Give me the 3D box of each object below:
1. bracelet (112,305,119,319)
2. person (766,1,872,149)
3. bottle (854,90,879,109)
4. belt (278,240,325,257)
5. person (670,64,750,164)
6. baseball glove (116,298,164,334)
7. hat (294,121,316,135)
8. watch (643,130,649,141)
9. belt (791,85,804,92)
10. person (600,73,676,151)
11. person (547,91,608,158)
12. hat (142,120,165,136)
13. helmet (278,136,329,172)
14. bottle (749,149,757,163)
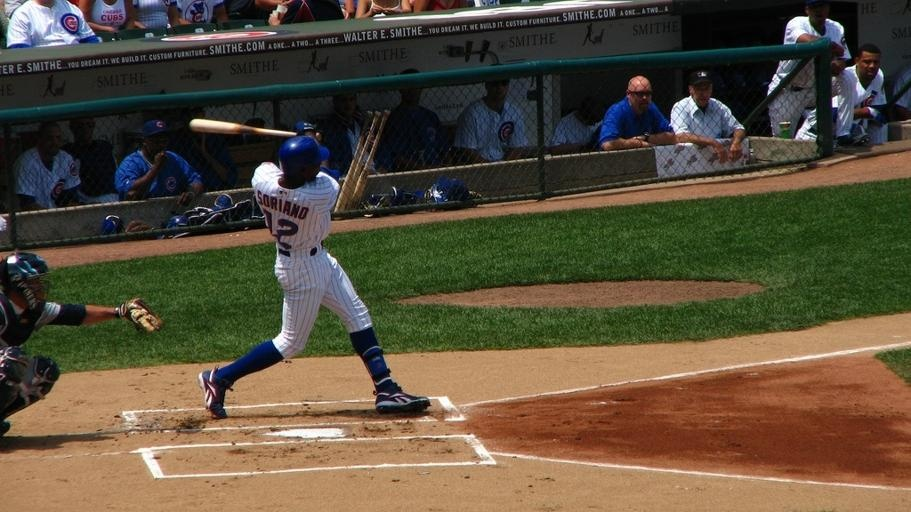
[{"bbox_3d":[-3.573,0.590,16.651,0.071,0.095,0.099,3,-12,-2],"label":"bracelet"},{"bbox_3d":[4.903,-2.548,21.705,1.234,1.968,0.849,-11,15,-40],"label":"person"},{"bbox_3d":[5.770,-2.191,22.029,0.260,0.233,0.099,21,7,13],"label":"bottle"},{"bbox_3d":[-1.620,-0.072,16.576,0.486,0.126,0.158,-2,10,-6],"label":"belt"},{"bbox_3d":[3.399,-1.872,21.101,1.045,1.216,0.298,-6,12,-19],"label":"person"},{"bbox_3d":[-3.319,0.628,16.702,0.472,0.316,0.174,38,-2,0],"label":"baseball glove"},{"bbox_3d":[-1.674,-1.439,17.792,0.348,0.156,0.505,1,6,-11],"label":"hat"},{"bbox_3d":[2.532,-1.602,20.872,0.090,0.111,0.043,15,-2,4],"label":"watch"},{"bbox_3d":[4.668,-2.294,21.478,0.143,0.063,0.027,0,11,11],"label":"belt"},{"bbox_3d":[2.366,-1.843,20.855,0.821,0.458,1.135,0,-1,-6],"label":"person"},{"bbox_3d":[1.665,-1.788,21.500,0.699,0.697,1.046,0,10,7],"label":"person"},{"bbox_3d":[-3.866,-1.654,20.265,0.288,0.193,0.180,-3,11,-9],"label":"hat"},{"bbox_3d":[-1.588,-1.098,16.350,0.476,0.226,0.317,-16,45,-15],"label":"helmet"},{"bbox_3d":[4.069,-1.373,21.591,0.052,0.190,0.146,4,6,21],"label":"bottle"}]
